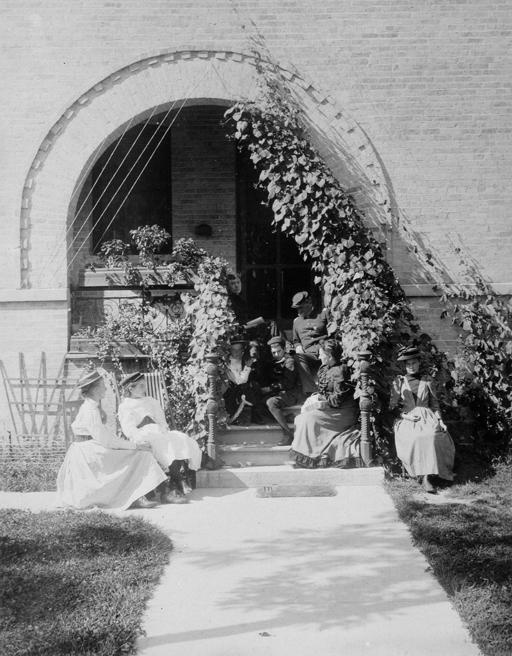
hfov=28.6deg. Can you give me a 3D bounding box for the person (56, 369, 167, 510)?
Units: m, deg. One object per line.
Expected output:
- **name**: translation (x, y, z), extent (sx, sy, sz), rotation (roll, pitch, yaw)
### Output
- **person**: translation (-1.318, 1.034, 9.766), extent (1.100, 1.260, 1.082), rotation (5, 7, 15)

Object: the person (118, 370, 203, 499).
- **person**: translation (-0.935, 1.016, 9.862), extent (0.602, 1.222, 0.691), rotation (-4, -14, -46)

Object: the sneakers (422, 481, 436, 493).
- **sneakers**: translation (1.707, 1.535, 9.824), extent (0.121, 0.108, 0.236), rotation (2, 9, 9)

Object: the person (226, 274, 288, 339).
- **person**: translation (0.062, -0.202, 11.780), extent (0.931, 0.768, 0.603), rotation (2, -2, 18)

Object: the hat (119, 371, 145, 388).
- **hat**: translation (-1.247, 0.522, 10.008), extent (0.166, 0.073, 0.214), rotation (-23, 0, -27)

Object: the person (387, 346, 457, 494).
- **person**: translation (1.710, 0.895, 10.165), extent (0.556, 1.268, 1.022), rotation (-2, 9, -13)
